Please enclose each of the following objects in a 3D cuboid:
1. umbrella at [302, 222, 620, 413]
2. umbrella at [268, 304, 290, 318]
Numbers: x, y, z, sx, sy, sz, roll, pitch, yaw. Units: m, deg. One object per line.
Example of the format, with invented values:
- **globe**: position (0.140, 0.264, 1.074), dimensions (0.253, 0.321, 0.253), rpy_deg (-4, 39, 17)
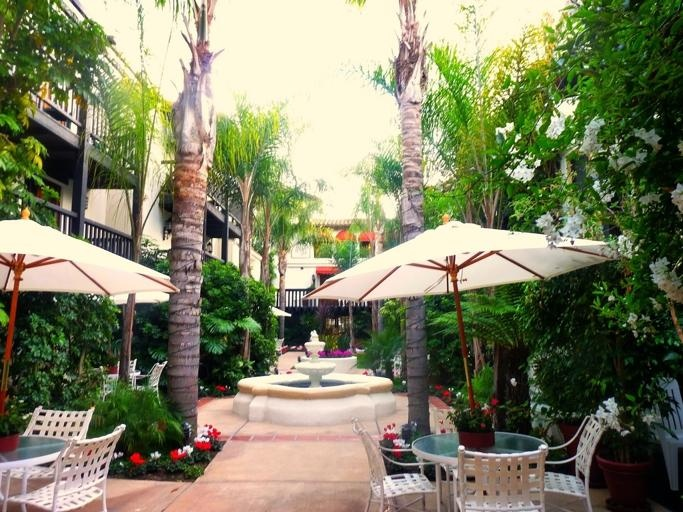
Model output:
- **umbrella**: position (1.603, 0.973, 6.357), dimensions (2.762, 2.366, 2.819), rpy_deg (-5, 1, 37)
- **umbrella**: position (-2.794, 2.514, 20.546), dimensions (0.901, 0.506, 1.282), rpy_deg (-1, -6, 14)
